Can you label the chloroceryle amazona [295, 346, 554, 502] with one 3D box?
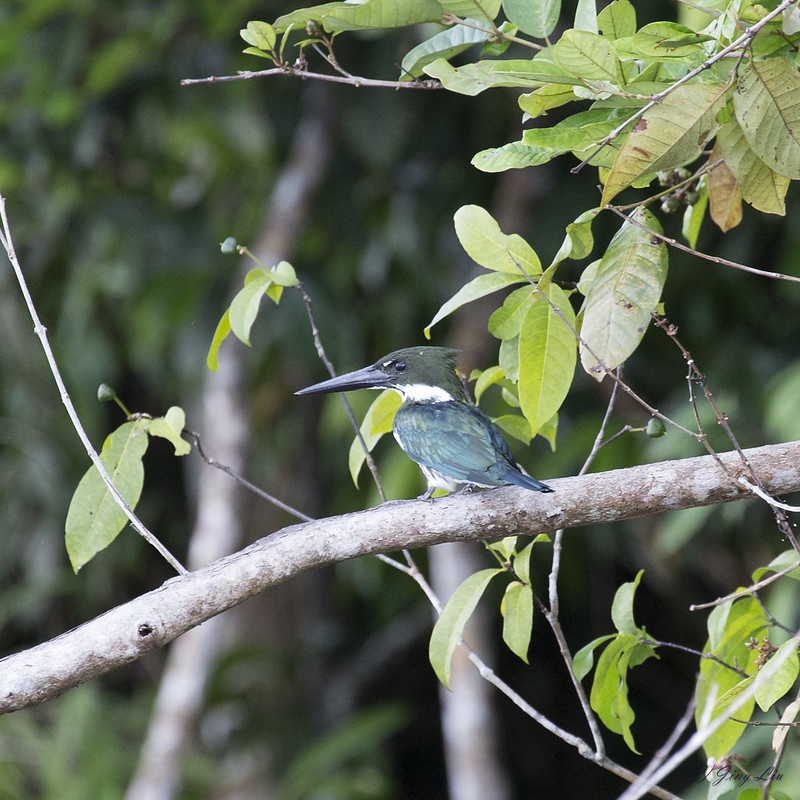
[{"bbox_3d":[0.085,0.100,3.855,0.784,0.295,0.548,-2,85,14],"label":"chloroceryle amazona"}]
